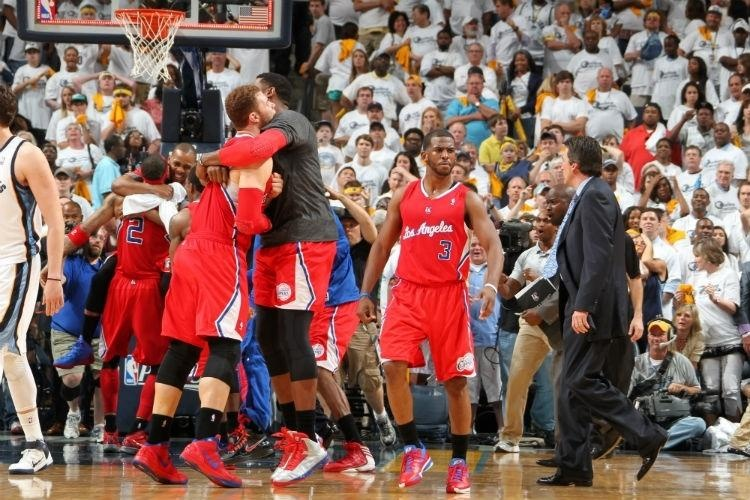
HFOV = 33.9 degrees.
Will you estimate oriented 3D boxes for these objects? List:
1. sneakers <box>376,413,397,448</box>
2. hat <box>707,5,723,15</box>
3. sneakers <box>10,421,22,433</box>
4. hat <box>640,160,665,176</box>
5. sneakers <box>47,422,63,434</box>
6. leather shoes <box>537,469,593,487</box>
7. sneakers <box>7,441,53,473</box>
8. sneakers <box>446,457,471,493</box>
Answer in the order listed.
[{"bbox_3d":[0.130,1.917,13.193,0.155,0.413,0.180,-15,2,8],"label":"sneakers"},{"bbox_3d":[5.485,-3.900,19.863,0.195,0.074,0.194,24,21,7],"label":"hat"},{"bbox_3d":[-3.929,1.960,13.547,0.082,0.098,0.234,7,-24,-22],"label":"sneakers"},{"bbox_3d":[3.837,-1.132,16.986,0.271,0.289,0.163,6,-23,-4],"label":"hat"},{"bbox_3d":[-3.496,2.005,13.741,0.259,0.120,0.086,4,-12,3],"label":"sneakers"},{"bbox_3d":[1.765,2.135,11.503,0.556,0.222,0.181,3,-10,2],"label":"leather shoes"},{"bbox_3d":[-3.144,1.890,11.272,0.381,0.291,0.245,2,-2,-17],"label":"sneakers"},{"bbox_3d":[0.751,2.023,11.003,0.222,0.280,0.247,1,-2,4],"label":"sneakers"}]
